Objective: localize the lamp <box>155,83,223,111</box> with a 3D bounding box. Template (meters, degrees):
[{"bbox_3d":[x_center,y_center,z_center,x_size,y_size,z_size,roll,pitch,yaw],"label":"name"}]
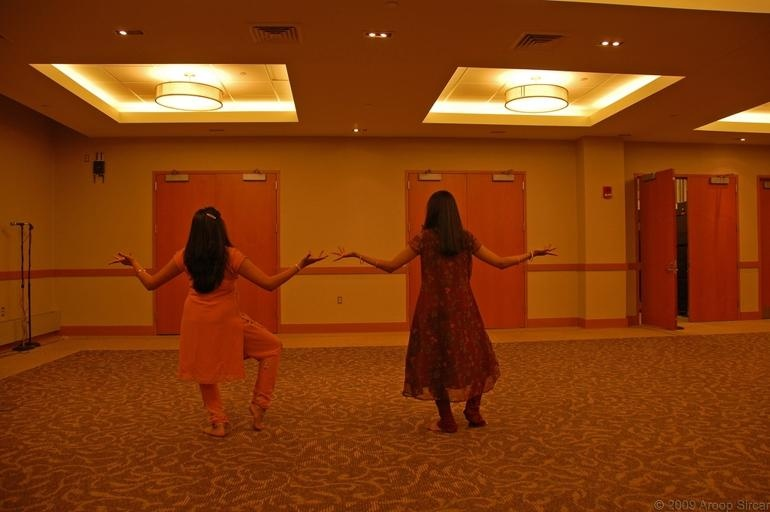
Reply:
[{"bbox_3d":[-3.465,-2.847,9.874,1.085,0.446,0.639,-6,14,-23],"label":"lamp"}]

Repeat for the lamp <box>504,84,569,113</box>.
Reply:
[{"bbox_3d":[2.743,-2.873,10.102,1.083,0.457,0.666,2,14,11],"label":"lamp"}]

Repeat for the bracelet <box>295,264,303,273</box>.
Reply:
[{"bbox_3d":[-1.064,0.156,6.839,0.027,0.094,0.100,-38,-4,29],"label":"bracelet"}]
